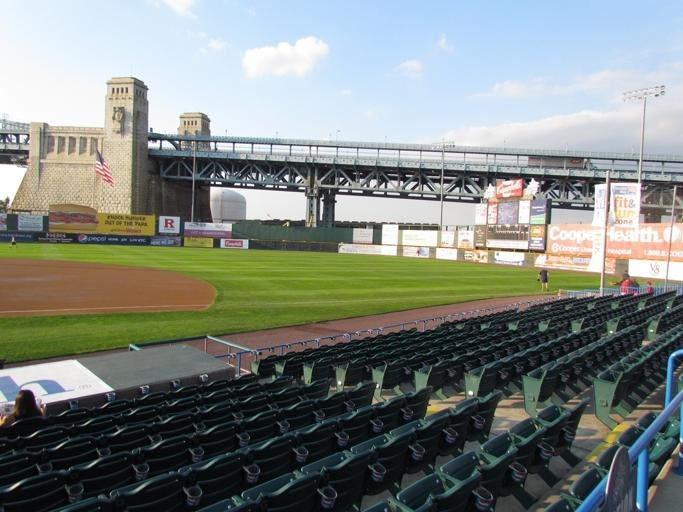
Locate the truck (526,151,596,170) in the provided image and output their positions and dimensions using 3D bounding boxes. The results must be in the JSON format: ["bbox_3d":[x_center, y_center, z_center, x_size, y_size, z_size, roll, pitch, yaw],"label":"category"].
[{"bbox_3d":[27.789,-11.765,72.333,7.256,1.959,2.584,3,4,12],"label":"truck"}]
